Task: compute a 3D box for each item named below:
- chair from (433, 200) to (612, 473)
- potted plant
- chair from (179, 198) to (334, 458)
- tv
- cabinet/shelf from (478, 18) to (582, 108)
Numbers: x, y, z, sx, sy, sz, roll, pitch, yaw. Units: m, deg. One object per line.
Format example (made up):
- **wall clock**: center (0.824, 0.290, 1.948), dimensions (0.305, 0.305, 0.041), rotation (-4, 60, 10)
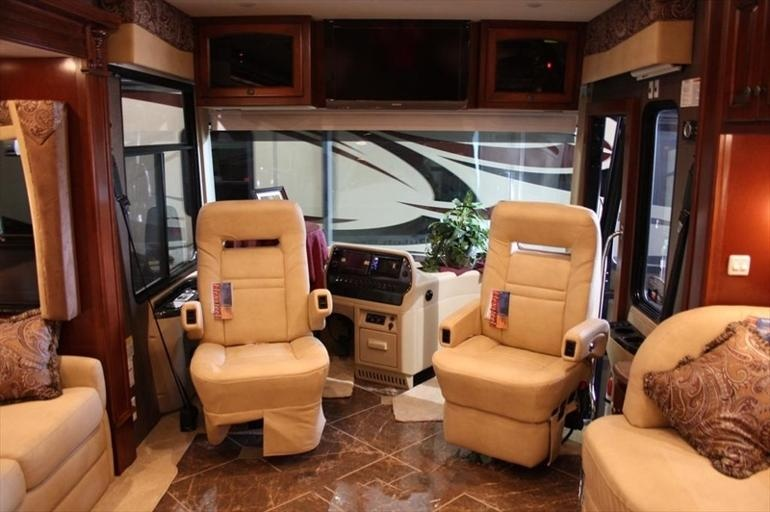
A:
- **chair**: center (0.913, 0.475, 3.919), dimensions (1.265, 1.549, 1.176), rotation (-12, 16, -32)
- **potted plant**: center (0.692, -0.181, 5.017), dimensions (0.500, 0.601, 0.456), rotation (10, -6, -33)
- **chair**: center (-0.909, 0.494, 3.988), dimensions (1.035, 1.723, 1.012), rotation (-6, 13, -18)
- **tv**: center (0.107, -1.630, 4.753), dimensions (1.287, 0.728, 0.132), rotation (-1, 10, -3)
- **cabinet/shelf**: center (1.220, -1.654, 5.006), dimensions (1.036, 0.701, 0.553), rotation (-1, 11, -5)
